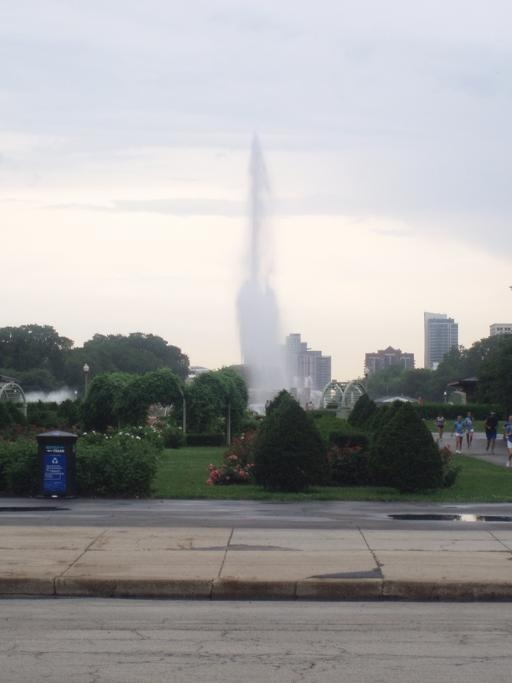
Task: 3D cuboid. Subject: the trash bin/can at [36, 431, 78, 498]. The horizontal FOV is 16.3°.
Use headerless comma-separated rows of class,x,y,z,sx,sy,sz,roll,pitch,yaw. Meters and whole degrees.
trash bin/can,-3.388,2.105,30.427,0.651,1.134,0.404,-1,0,-7
